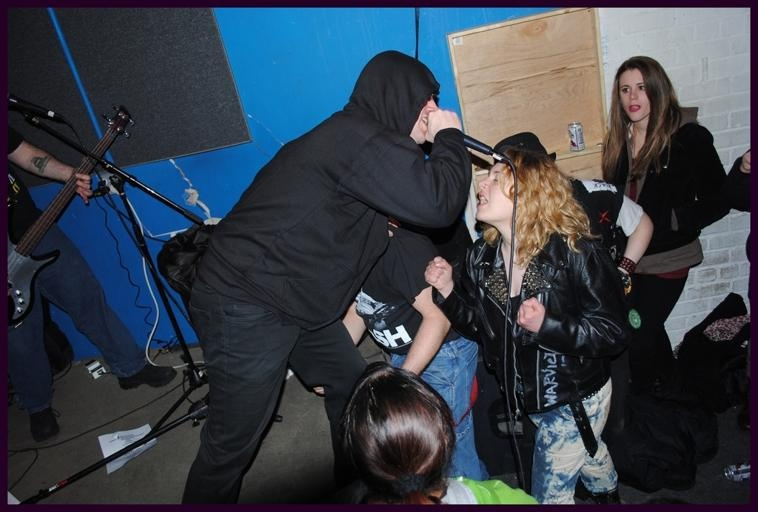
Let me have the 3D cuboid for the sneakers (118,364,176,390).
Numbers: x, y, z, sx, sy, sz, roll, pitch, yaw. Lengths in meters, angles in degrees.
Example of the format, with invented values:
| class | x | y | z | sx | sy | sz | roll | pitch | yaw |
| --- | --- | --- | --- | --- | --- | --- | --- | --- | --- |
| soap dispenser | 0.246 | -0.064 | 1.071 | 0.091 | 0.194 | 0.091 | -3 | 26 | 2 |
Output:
| class | x | y | z | sx | sy | sz | roll | pitch | yaw |
| --- | --- | --- | --- | --- | --- | --- | --- | --- | --- |
| sneakers | -1.876 | 1.009 | 4.567 | 0.417 | 0.182 | 0.202 | -12 | 36 | -4 |

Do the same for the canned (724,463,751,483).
| class | x | y | z | sx | sy | sz | roll | pitch | yaw |
| --- | --- | --- | --- | --- | --- | --- | --- | --- | --- |
| canned | 2.210 | 1.345 | 3.365 | 0.138 | 0.101 | 0.054 | -10 | -15 | 19 |

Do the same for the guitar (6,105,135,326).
| class | x | y | z | sx | sy | sz | roll | pitch | yaw |
| --- | --- | --- | --- | --- | --- | --- | --- | --- | --- |
| guitar | -2.329 | -0.293 | 4.108 | 1.102 | 1.353 | 0.341 | -16 | 11 | -14 |

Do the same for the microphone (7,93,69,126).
| class | x | y | z | sx | sy | sz | roll | pitch | yaw |
| --- | --- | --- | --- | --- | --- | --- | --- | --- | --- |
| microphone | -2.312 | -0.982 | 3.768 | 0.293 | 0.200 | 0.771 | -18 | 12 | -26 |

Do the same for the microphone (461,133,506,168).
| class | x | y | z | sx | sy | sz | roll | pitch | yaw |
| --- | --- | --- | --- | --- | --- | --- | --- | --- | --- |
| microphone | 0.583 | -0.583 | 2.951 | 0.185 | 0.186 | 0.322 | -10 | 11 | 17 |

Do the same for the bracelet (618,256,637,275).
| class | x | y | z | sx | sy | sz | roll | pitch | yaw |
| --- | --- | --- | --- | --- | --- | --- | --- | --- | --- |
| bracelet | 1.533 | 0.056 | 3.387 | 0.082 | 0.068 | 0.090 | 7 | 36 | -31 |
